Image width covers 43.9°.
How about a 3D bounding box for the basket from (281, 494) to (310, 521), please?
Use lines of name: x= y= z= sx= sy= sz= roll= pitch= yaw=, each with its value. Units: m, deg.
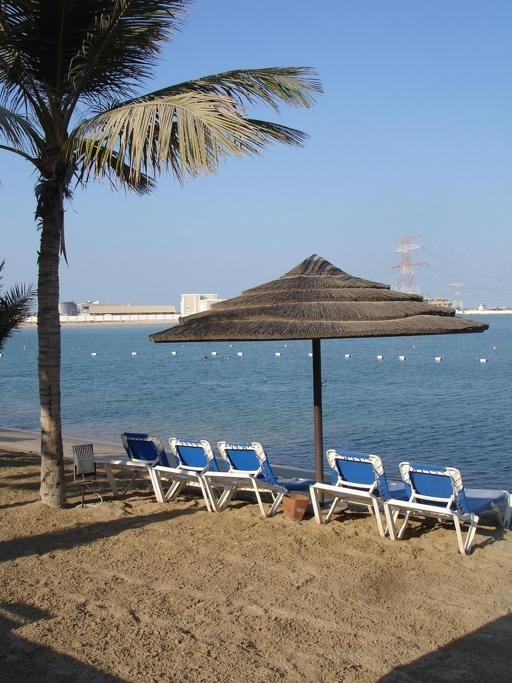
basket: x=0.417 y=1.625 z=6.289 sx=0.242 sy=0.188 sz=0.232 roll=-1 pitch=2 yaw=-35
